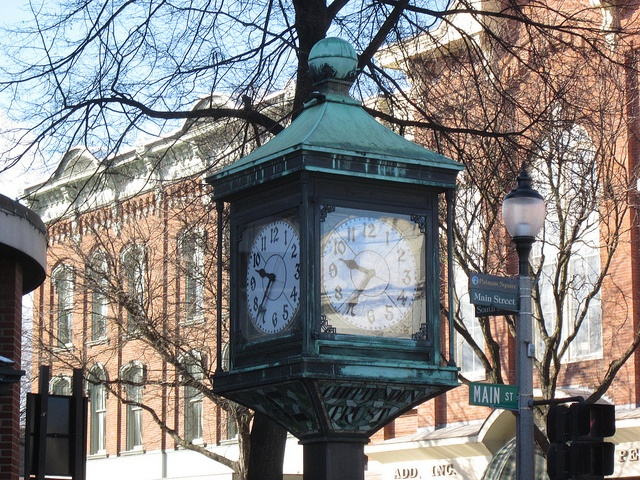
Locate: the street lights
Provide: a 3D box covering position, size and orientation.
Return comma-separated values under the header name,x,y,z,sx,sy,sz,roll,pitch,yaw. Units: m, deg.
name,x,y,z,sx,sy,sz,roll,pitch,yaw
street lights,2.820,1.125,25.311,0.566,4.302,0.948,3,-18,-10
